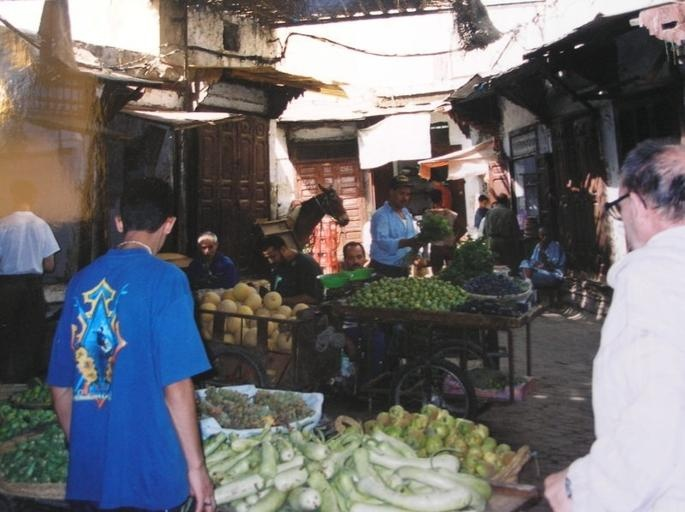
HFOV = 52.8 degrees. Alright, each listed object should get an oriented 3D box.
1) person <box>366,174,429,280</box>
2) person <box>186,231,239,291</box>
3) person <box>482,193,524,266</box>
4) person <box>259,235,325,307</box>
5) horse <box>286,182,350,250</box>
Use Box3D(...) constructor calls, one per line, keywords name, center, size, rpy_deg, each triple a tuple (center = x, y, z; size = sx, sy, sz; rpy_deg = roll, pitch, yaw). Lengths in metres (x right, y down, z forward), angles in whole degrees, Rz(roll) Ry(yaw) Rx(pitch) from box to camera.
Box3D(name="person", center=(0.708, -0.336, 7.950), size=(0.519, 1.208, 0.464), rpy_deg=(-6, 8, -41))
Box3D(name="person", center=(-1.672, 0.119, 8.788), size=(0.612, 0.820, 0.469), rpy_deg=(-5, -11, -5))
Box3D(name="person", center=(2.828, -0.304, 12.208), size=(0.617, 1.281, 0.431), rpy_deg=(-4, -1, 15))
Box3D(name="person", center=(-0.609, 0.216, 8.062), size=(0.605, 0.824, 0.549), rpy_deg=(6, 10, 34))
Box3D(name="horse", center=(-0.455, -0.738, 11.966), size=(0.802, 1.173, 0.960), rpy_deg=(5, 9, 15))
